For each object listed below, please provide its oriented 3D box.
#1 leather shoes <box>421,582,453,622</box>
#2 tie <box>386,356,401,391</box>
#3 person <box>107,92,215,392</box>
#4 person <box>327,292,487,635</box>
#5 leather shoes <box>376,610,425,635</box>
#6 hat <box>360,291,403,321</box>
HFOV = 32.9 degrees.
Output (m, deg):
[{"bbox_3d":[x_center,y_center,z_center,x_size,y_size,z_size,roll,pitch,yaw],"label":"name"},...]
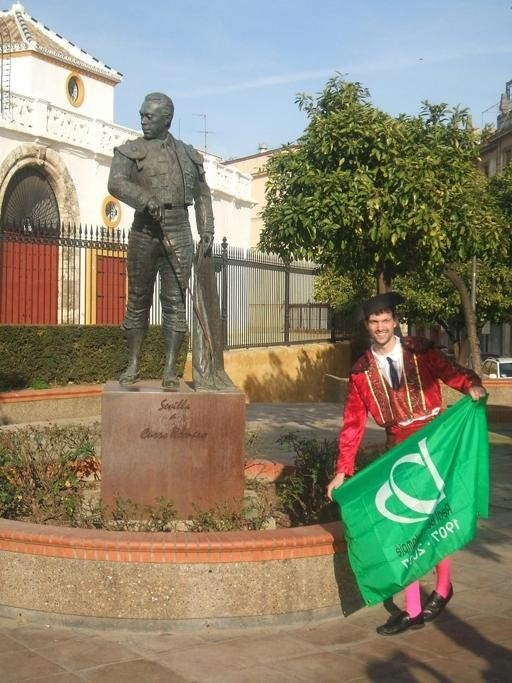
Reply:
[{"bbox_3d":[0.920,1.375,4.528,0.081,0.094,0.247,-9,28,46],"label":"leather shoes"},{"bbox_3d":[0.746,0.181,4.663,0.042,0.171,0.024,-11,-15,8],"label":"tie"},{"bbox_3d":[-0.723,-0.727,6.310,0.665,2.094,0.977,5,6,31],"label":"person"},{"bbox_3d":[0.755,0.606,4.671,0.734,1.717,0.779,0,5,-27],"label":"person"},{"bbox_3d":[0.719,1.416,4.378,0.258,0.099,0.089,-3,-2,-21],"label":"leather shoes"},{"bbox_3d":[0.691,-0.190,4.719,0.248,0.154,0.195,1,5,-11],"label":"hat"}]
